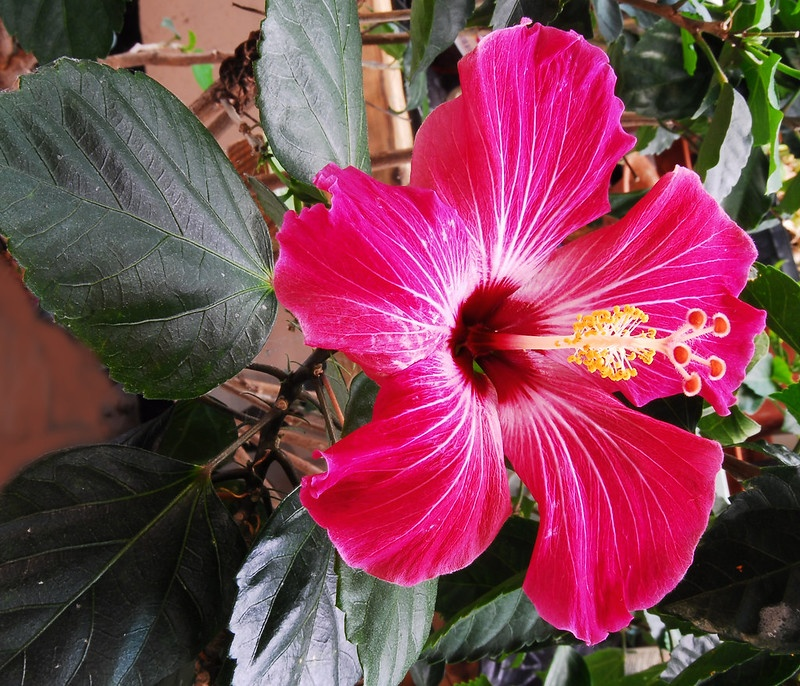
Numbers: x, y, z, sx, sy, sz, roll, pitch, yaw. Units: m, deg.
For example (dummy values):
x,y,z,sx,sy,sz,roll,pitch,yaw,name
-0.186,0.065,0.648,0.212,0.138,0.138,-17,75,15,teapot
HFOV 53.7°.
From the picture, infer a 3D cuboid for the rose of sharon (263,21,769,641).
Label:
x,y,z,sx,sy,sz,roll,pitch,yaw,name
0.076,-0.083,1.238,0.555,0.803,0.749,11,-47,53,rose of sharon
